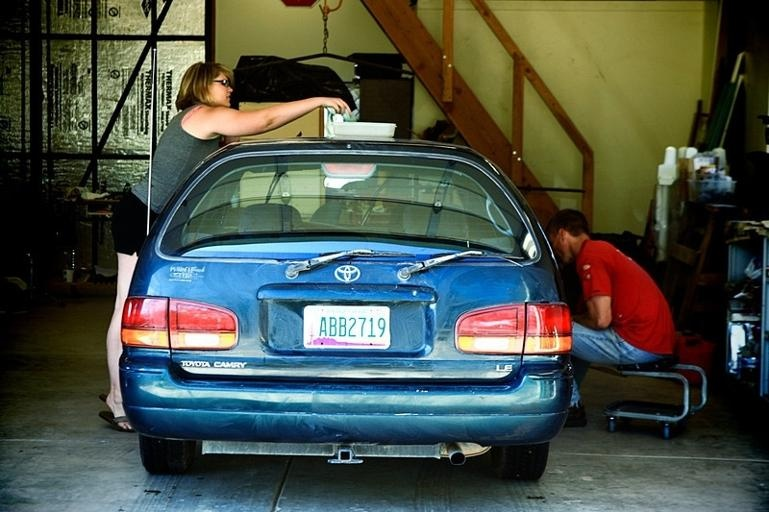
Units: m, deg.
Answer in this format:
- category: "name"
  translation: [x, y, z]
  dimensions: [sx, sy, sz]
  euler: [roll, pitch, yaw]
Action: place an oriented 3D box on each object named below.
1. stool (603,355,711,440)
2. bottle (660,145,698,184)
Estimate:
- category: "stool"
  translation: [2.076, 1.047, 6.535]
  dimensions: [0.848, 0.543, 0.624]
  euler: [1, 1, 17]
- category: "bottle"
  translation: [3.094, -0.926, 9.022]
  dimensions: [0.335, 0.411, 1.056]
  euler: [4, 11, 14]
